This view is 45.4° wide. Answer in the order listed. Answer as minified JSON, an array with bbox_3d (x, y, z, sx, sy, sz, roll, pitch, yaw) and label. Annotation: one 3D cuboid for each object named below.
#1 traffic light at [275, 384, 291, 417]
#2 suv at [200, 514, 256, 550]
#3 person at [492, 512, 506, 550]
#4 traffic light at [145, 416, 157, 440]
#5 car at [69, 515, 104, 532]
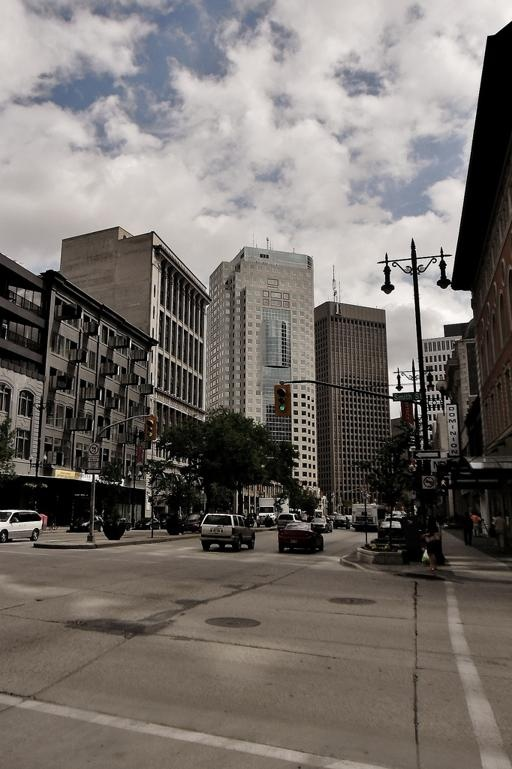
[{"bbox_3d":[0.899,0.450,21.211,0.438,1.109,0.813,-1,-10,8],"label":"traffic light"},{"bbox_3d":[-1.319,7.282,30.426,1.580,1.420,3.201,-3,-8,17],"label":"suv"},{"bbox_3d":[12.932,7.721,32.450,0.526,1.684,2.717,-4,-12,22],"label":"person"},{"bbox_3d":[-5.765,2.284,33.243,0.508,1.356,0.935,4,-11,-20],"label":"traffic light"},{"bbox_3d":[-13.669,11.192,49.277,2.253,1.117,4.991,-1,-11,7],"label":"car"}]
